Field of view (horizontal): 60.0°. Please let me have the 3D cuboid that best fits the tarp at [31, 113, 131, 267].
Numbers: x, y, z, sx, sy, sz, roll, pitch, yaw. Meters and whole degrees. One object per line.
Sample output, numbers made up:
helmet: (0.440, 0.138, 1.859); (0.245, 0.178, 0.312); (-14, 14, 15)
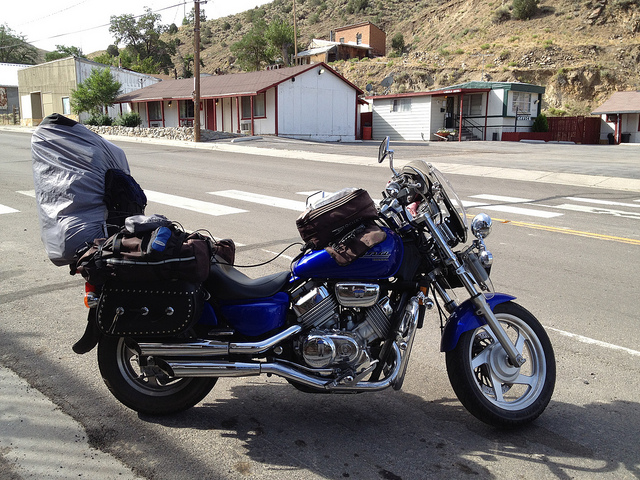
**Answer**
tarp: (-2.289, -0.512, 5.193); (0.660, 1.779, 0.793); (11, 16, 40)
